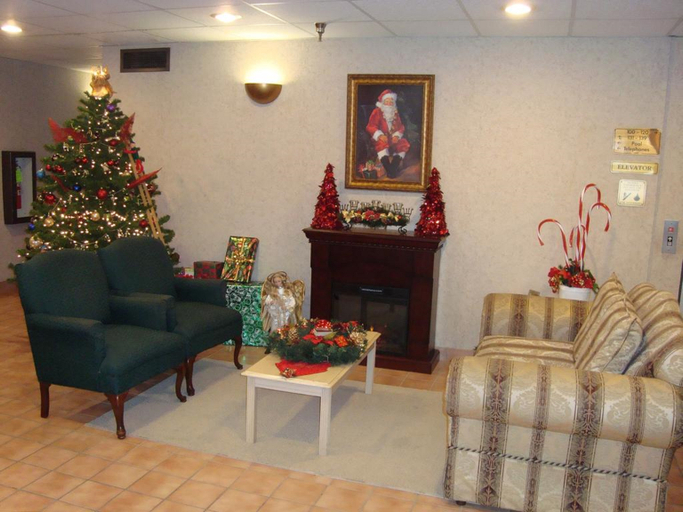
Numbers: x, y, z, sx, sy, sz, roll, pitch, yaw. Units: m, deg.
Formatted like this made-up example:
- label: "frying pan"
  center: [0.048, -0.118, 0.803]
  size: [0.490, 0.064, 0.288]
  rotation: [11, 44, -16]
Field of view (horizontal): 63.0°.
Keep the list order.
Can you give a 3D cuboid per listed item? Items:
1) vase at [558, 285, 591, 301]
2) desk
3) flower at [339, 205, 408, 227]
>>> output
- label: "vase"
  center: [2.145, 0.306, 5.114]
  size: [0.198, 0.129, 0.192]
  rotation: [0, 2, -41]
- label: "desk"
  center: [-0.236, 0.994, 4.982]
  size: [1.047, 0.669, 1.848]
  rotation: [3, 9, 15]
- label: "flower"
  center: [0.350, -0.424, 5.933]
  size: [0.714, 0.225, 0.286]
  rotation: [2, 9, 7]
